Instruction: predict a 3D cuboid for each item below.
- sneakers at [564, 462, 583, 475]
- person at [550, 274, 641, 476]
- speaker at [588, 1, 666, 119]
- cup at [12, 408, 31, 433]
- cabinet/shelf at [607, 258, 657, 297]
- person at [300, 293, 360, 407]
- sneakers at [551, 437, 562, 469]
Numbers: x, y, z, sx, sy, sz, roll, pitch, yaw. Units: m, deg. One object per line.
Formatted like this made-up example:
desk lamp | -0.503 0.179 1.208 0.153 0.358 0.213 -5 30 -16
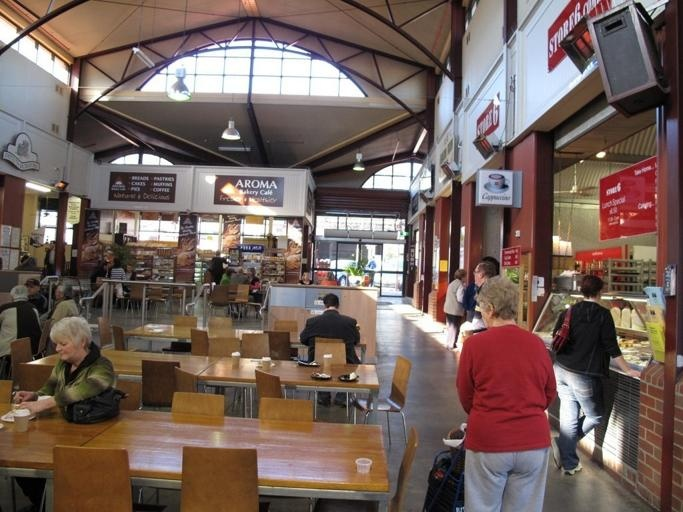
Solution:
sneakers | 2.245 2.050 5.325 0.080 0.104 0.224 0 2 42
person | 2.347 1.144 5.228 0.640 1.923 0.330 0 -3 29
speaker | 2.610 -1.815 4.987 0.503 0.898 0.505 3 -3 -25
cup | -2.311 1.193 3.967 0.135 0.155 0.140 0 -1 0
cabinet/shelf | 3.089 0.242 5.896 0.531 0.480 0.328 0 -6 9
person | -0.149 1.187 6.875 0.719 1.381 0.660 -1 2 -2
sneakers | 2.108 1.951 5.411 0.077 0.264 0.100 -7 -17 35
